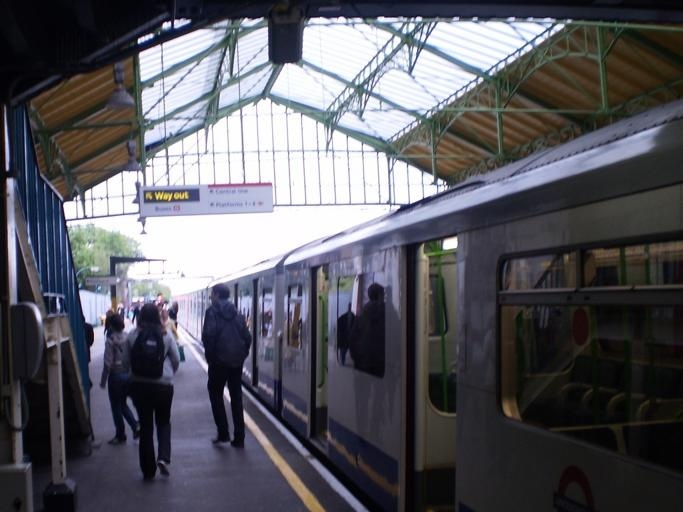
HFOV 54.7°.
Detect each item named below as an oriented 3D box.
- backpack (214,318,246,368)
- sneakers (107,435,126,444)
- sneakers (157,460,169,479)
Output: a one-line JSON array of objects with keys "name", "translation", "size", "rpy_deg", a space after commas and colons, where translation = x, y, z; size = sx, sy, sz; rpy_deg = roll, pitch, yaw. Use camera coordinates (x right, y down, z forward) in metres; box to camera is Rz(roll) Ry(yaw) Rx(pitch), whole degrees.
[{"name": "backpack", "translation": [-1.501, 1.166, 8.864], "size": [0.479, 0.932, 0.341], "rpy_deg": [2, -4, -11]}, {"name": "sneakers", "translation": [-3.156, 2.612, 9.375], "size": [0.255, 0.147, 0.106], "rpy_deg": [4, -6, 6]}, {"name": "sneakers", "translation": [-2.075, 2.495, 7.784], "size": [0.088, 0.269, 0.107], "rpy_deg": [-5, 20, 13]}]
